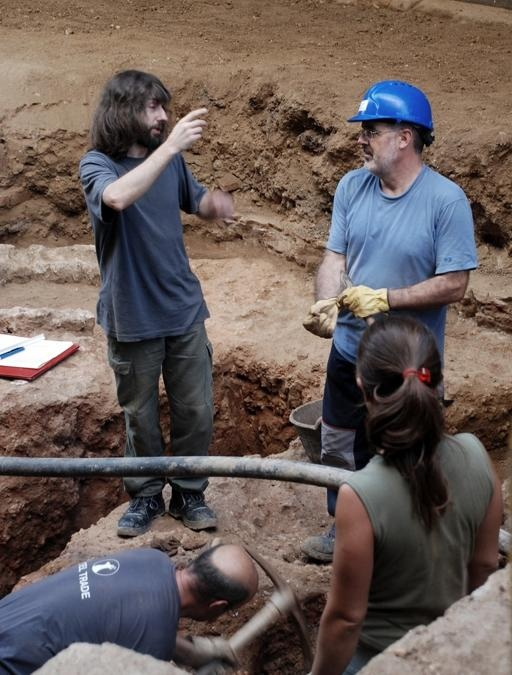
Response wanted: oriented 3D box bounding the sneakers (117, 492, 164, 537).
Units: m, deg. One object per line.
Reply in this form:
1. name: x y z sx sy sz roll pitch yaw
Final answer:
1. sneakers: -0.521 0.823 4.010 0.104 0.108 0.284 3 4 21

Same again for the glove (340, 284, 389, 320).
1. glove: 0.422 -0.148 3.449 0.172 0.075 0.129 7 38 47

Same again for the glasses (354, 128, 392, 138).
1. glasses: 0.478 -0.830 3.478 0.099 0.024 0.066 -8 25 -18

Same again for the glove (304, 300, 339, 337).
1. glove: 0.287 -0.091 3.728 0.140 0.167 0.082 29 -5 -1

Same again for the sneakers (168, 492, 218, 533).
1. sneakers: -0.304 0.809 4.080 0.124 0.131 0.289 -9 16 -43

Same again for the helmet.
1. helmet: 0.559 -0.971 3.533 0.356 0.154 0.253 1 23 -10

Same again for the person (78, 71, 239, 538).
1. person: -0.431 -0.117 3.850 0.673 2.062 0.642 -3 21 -20

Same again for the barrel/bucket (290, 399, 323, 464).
1. barrel/bucket: 0.289 0.502 4.554 0.204 0.216 0.275 -2 23 20
